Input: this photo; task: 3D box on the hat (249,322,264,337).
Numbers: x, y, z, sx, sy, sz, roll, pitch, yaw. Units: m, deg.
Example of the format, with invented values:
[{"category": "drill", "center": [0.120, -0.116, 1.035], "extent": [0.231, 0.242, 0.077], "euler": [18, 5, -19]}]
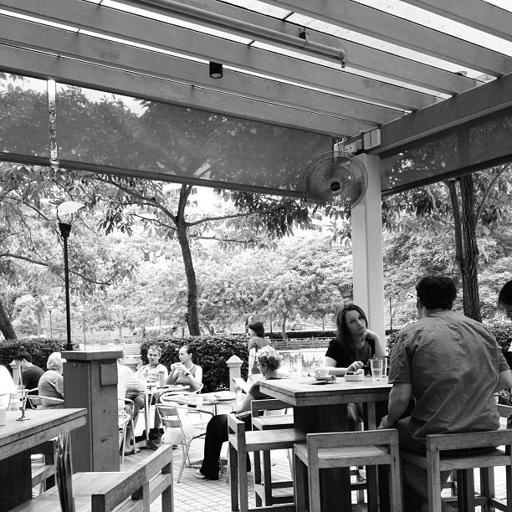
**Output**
[{"category": "hat", "center": [0.000, 1.155, 9.662], "extent": [0.217, 0.259, 0.171], "euler": [2, 2, -30]}]

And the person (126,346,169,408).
[{"category": "person", "center": [-1.508, 1.662, 8.745], "extent": [0.450, 0.850, 0.608], "euler": [1, -13, 7]}]

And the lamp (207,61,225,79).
[{"category": "lamp", "center": [-0.361, -1.613, 5.545], "extent": [0.112, 0.158, 0.118], "euler": [-5, -9, 41]}]

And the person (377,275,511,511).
[{"category": "person", "center": [1.064, 0.785, 3.557], "extent": [0.745, 1.391, 0.458], "euler": [-4, -7, 12]}]

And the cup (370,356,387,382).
[{"category": "cup", "center": [0.876, 0.802, 4.419], "extent": [0.128, 0.176, 0.147], "euler": [0, -3, -2]}]

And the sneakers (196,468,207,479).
[{"category": "sneakers", "center": [-0.535, 2.119, 6.085], "extent": [0.081, 0.051, 0.121], "euler": [8, 4, -29]}]

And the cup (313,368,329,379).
[{"category": "cup", "center": [0.453, 0.816, 4.308], "extent": [0.096, 0.074, 0.173], "euler": [-4, -9, 3]}]

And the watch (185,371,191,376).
[{"category": "watch", "center": [-0.888, 1.551, 8.206], "extent": [0.066, 0.038, 0.100], "euler": [2, 1, -21]}]
